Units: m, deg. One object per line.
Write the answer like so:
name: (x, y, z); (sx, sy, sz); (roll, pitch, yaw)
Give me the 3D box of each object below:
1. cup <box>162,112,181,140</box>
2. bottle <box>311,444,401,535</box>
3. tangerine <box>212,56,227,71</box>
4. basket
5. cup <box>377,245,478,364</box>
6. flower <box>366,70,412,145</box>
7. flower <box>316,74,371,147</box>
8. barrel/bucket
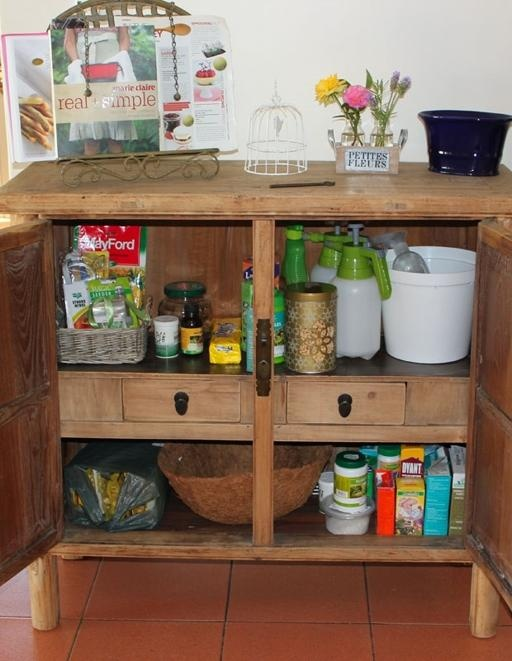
cup: (-0.211, -0.505, 1.480); (0.044, 0.049, 0.051); (0, 45, -4)
bottle: (0.254, 0.429, 1.632); (0.235, 0.184, 0.159); (2, 13, 5)
tangerine: (-0.088, -0.646, 1.459); (0.032, 0.034, 0.030); (-13, 49, -14)
basket: (-0.394, 0.031, 1.494); (0.158, 0.056, 0.107); (-1, 7, -6)
cup: (0.441, -0.077, 1.595); (0.297, 0.247, 0.315); (-1, 13, 0)
flower: (0.342, -0.564, 1.585); (0.117, 0.172, 0.099); (5, 11, -3)
flower: (0.242, -0.612, 1.658); (0.145, 0.221, 0.298); (1, 9, 8)
barrel/bucket: (0.452, -0.092, 1.601); (0.294, 0.240, 0.318); (-2, 13, 0)
